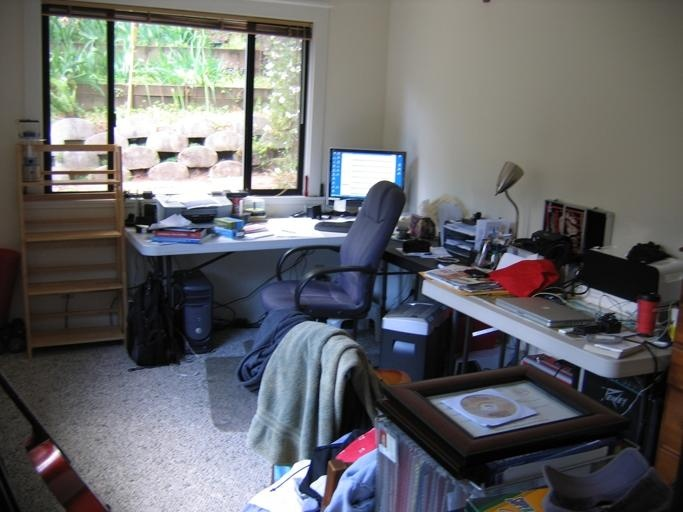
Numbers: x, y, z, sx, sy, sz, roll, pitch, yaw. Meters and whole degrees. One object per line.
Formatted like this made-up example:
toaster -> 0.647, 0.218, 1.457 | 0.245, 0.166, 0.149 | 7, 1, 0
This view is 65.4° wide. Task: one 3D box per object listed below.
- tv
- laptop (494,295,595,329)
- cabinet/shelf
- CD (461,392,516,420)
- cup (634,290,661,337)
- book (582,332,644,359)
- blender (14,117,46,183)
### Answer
tv -> 0.188, -0.579, 4.091 | 0.837, 0.524, 0.080 | 0, 8, -2
laptop -> 0.969, 0.263, 2.536 | 0.278, 0.066, 0.400 | -2, 10, -22
cabinet/shelf -> -1.958, -0.084, 3.866 | 0.720, 1.454, 0.635 | -2, 12, -21
CD -> 0.267, 0.271, 0.967 | 0.091, 0.013, 0.092 | 8, 11, 33
cup -> 1.338, 0.251, 2.332 | 0.107, 0.176, 0.084 | -4, 13, -30
book -> 1.134, 0.372, 2.209 | 0.134, 0.026, 0.121 | -3, 7, -13
blender -> -2.143, -0.736, 3.670 | 0.162, 0.432, 0.402 | -4, 12, -29
